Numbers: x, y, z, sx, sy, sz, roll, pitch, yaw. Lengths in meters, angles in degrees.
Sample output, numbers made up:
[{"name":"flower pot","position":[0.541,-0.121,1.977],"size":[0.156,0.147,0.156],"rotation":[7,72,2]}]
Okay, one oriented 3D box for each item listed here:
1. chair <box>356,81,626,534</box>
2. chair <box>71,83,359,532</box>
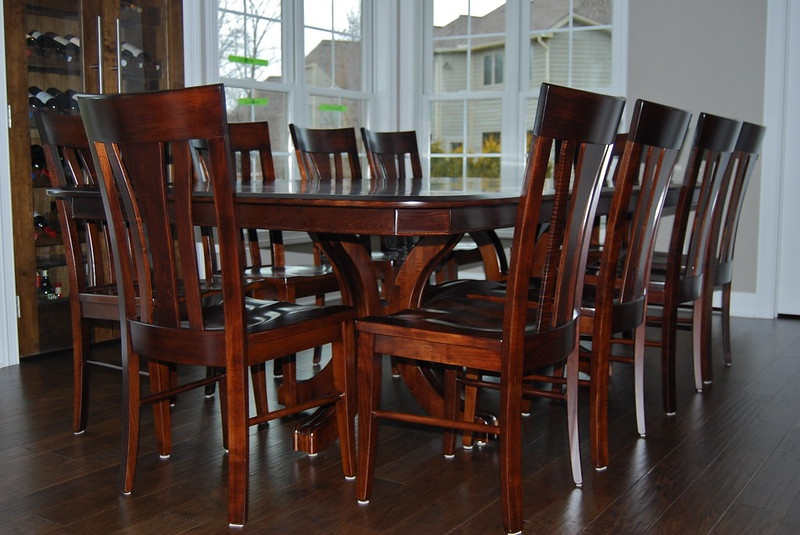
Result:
[{"name":"chair","position":[0.356,0.107,2.421],"size":[0.692,1.474,0.965],"rotation":[8,17,35]},{"name":"chair","position":[-0.712,0.103,2.433],"size":[0.722,1.472,0.788],"rotation":[-13,18,-40]}]
